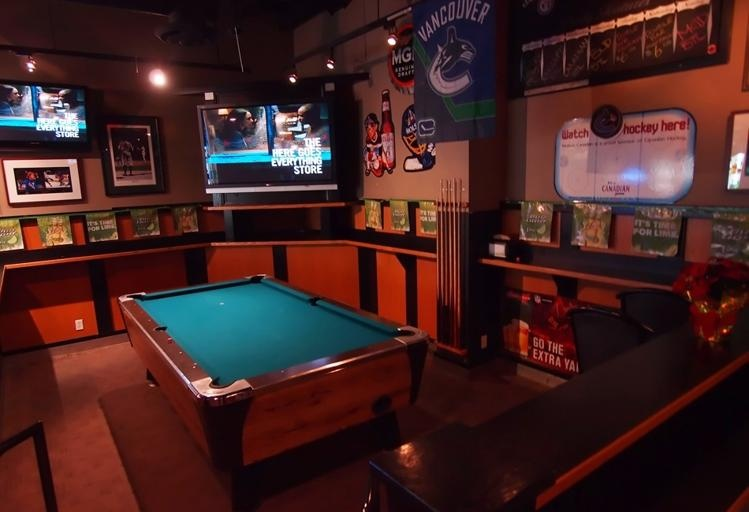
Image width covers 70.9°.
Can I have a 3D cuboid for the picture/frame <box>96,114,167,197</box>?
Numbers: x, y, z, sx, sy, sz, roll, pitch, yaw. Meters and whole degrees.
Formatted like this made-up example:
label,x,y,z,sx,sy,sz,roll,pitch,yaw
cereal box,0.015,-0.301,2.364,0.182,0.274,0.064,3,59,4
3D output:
label,x,y,z,sx,sy,sz,roll,pitch,yaw
picture/frame,-2.752,-1.138,5.881,0.871,1.234,0.050,-5,11,-31
